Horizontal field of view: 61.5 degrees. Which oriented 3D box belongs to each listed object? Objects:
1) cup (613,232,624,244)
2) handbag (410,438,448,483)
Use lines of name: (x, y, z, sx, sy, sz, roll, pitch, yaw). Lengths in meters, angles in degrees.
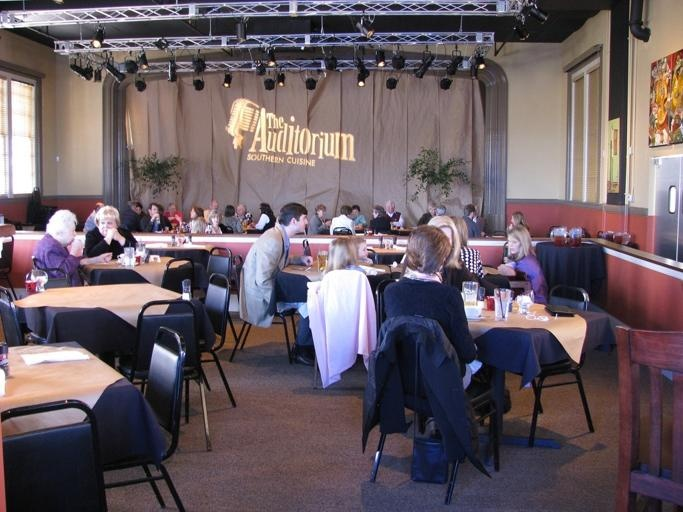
cup: (3.662, -0.240, 7.616, 0.128, 0.179, 0.140, -1, -4, 0)
handbag: (0.532, 1.253, 3.557, 0.229, 0.346, 0.174, 8, 16, 35)
